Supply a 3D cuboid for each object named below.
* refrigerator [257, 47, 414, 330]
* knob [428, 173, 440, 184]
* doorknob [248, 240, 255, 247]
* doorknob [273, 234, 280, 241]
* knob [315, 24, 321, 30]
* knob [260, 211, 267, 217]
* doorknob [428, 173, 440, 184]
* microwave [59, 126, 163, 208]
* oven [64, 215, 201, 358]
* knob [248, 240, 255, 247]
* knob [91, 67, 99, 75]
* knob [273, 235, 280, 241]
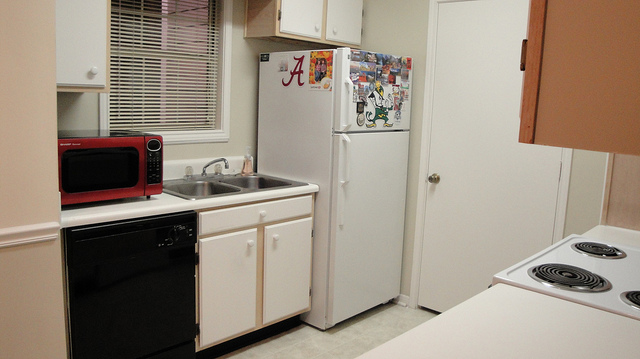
[{"bbox_3d":[0.113,0.083,3.922,1.393,2.402,0.814,1,12,5],"label":"refrigerator"},{"bbox_3d":[1.071,-0.007,4.067,0.054,0.087,0.095,-14,9,-43],"label":"knob"},{"bbox_3d":[-0.529,0.502,3.379,0.024,0.054,0.061,11,16,41],"label":"doorknob"},{"bbox_3d":[-0.349,0.475,3.507,0.060,0.056,0.023,-11,16,-43],"label":"doorknob"},{"bbox_3d":[-0.017,-1.369,3.886,0.014,0.046,0.067,9,15,37],"label":"knob"},{"bbox_3d":[-0.443,0.274,3.409,0.039,0.046,0.068,1,-1,3],"label":"knob"},{"bbox_3d":[1.073,0.002,4.069,0.097,0.063,0.054,0,2,39],"label":"doorknob"},{"bbox_3d":[-1.593,-0.090,3.056,0.542,0.433,0.757,10,11,40],"label":"microwave"},{"bbox_3d":[-1.302,0.749,3.419,0.961,1.261,0.977,1,2,39],"label":"oven"},{"bbox_3d":[-0.532,0.498,3.363,0.036,0.044,0.042,5,9,-9],"label":"knob"},{"bbox_3d":[-1.495,-0.722,2.869,0.014,0.041,0.043,9,-23,44],"label":"knob"},{"bbox_3d":[-0.348,0.473,3.496,0.030,0.042,0.047,0,20,-9],"label":"knob"}]
